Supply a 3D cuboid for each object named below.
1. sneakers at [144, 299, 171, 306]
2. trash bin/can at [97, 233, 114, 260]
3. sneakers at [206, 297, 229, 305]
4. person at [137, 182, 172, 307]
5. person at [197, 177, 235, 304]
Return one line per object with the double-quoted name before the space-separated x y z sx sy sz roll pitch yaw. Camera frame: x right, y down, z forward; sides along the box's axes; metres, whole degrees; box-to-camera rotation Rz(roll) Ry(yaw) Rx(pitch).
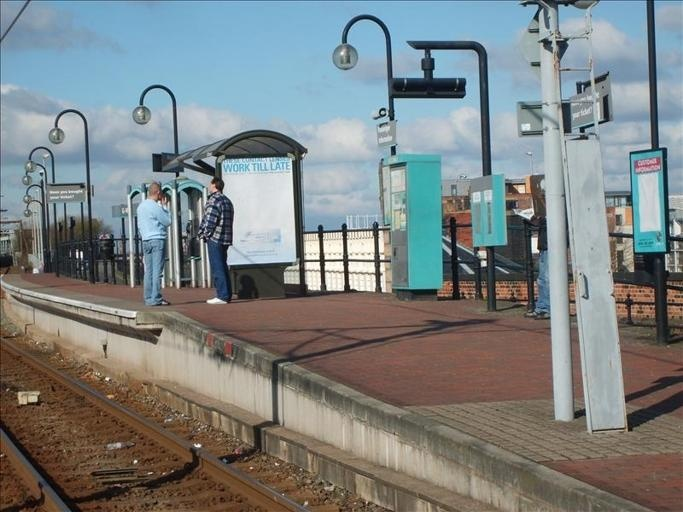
"sneakers" -3.155 0.812 18.516 0.396 0.196 0.162 -2 -1 -4
"trash bin/can" -6.809 -0.276 31.338 0.419 0.647 2.443 -5 5 -14
"sneakers" -2.192 0.813 19.087 0.350 0.173 0.154 4 -3 0
"person" -3.203 -0.190 18.700 0.519 2.101 0.788 -5 5 -16
"person" -2.176 -0.260 19.166 0.601 2.242 0.864 -4 5 -5
